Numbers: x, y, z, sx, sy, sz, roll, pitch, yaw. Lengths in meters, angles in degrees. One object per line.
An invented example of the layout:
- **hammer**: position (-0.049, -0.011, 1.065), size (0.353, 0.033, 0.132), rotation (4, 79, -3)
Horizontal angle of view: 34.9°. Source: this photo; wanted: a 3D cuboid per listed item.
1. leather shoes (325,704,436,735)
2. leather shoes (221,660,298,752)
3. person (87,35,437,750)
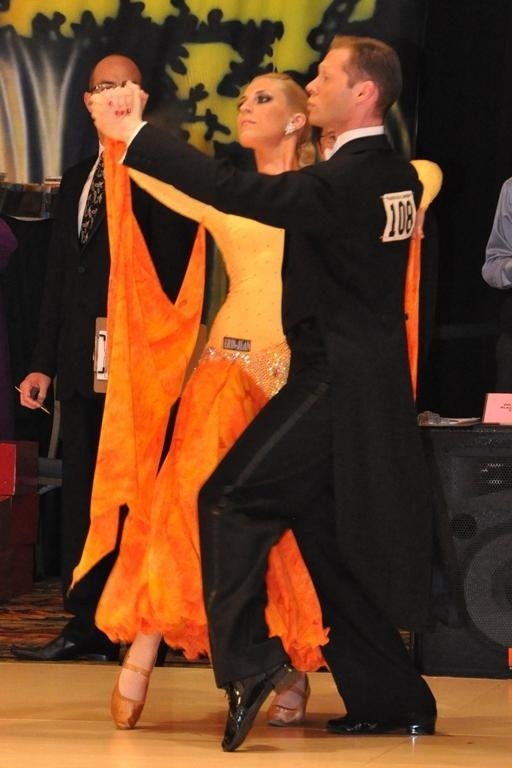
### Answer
- **leather shoes**: position (0.245, 0.679, 1.626), size (0.213, 0.052, 0.071), rotation (4, -8, 5)
- **leather shoes**: position (-0.013, 0.554, 1.468), size (0.097, 0.201, 0.069), rotation (30, 18, -9)
- **person**: position (0.075, 0.024, 1.531), size (0.568, 1.364, 0.399), rotation (-5, 14, -28)
